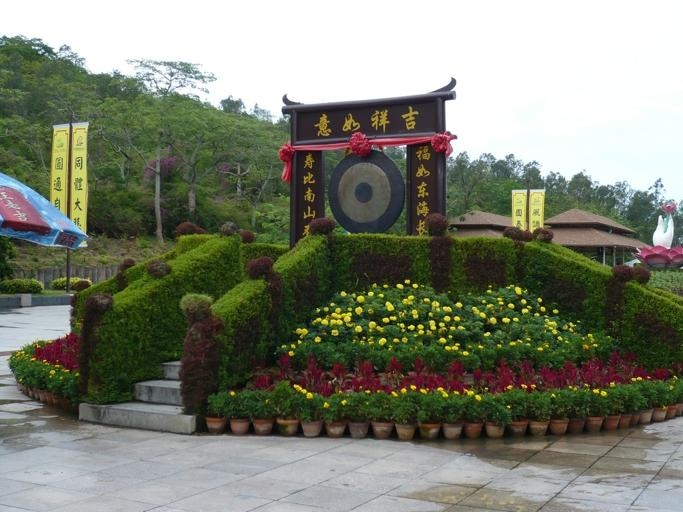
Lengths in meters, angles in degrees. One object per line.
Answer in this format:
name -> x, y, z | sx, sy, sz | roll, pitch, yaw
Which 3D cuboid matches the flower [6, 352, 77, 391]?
flower -> -4.497, 1.750, 10.401 | 1.734, 0.564, 0.435 | 6, 13, 43
